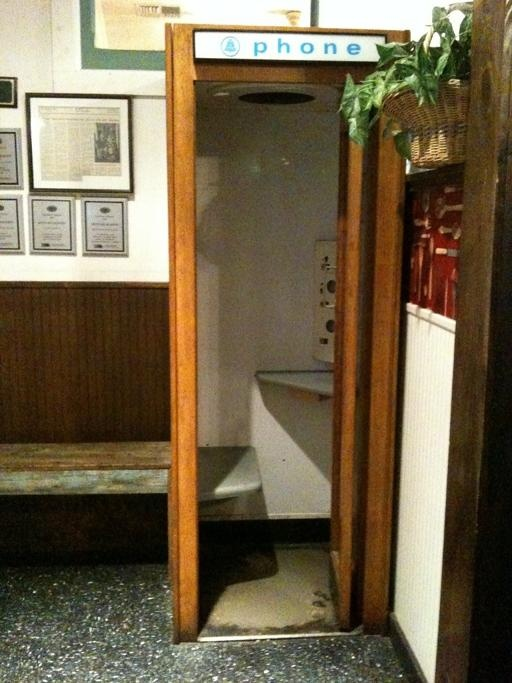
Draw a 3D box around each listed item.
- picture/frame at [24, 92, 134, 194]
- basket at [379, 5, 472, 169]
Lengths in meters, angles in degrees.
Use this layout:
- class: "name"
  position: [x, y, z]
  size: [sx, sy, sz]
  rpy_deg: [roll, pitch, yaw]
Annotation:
- class: "picture/frame"
  position: [-0.757, -0.857, 2.877]
  size: [0.459, 0.393, 0.036]
  rpy_deg: [0, 8, -3]
- class: "basket"
  position: [0.410, -0.615, 1.658]
  size: [0.175, 0.369, 0.468]
  rpy_deg: [1, 10, 2]
